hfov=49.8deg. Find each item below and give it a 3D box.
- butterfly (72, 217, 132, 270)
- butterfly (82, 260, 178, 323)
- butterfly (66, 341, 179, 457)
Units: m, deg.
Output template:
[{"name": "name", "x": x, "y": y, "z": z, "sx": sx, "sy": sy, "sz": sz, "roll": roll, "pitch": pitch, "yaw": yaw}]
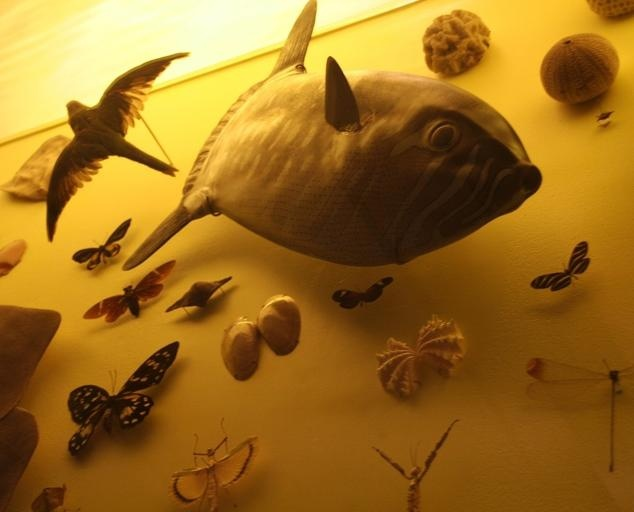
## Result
[{"name": "butterfly", "x": -0.834, "y": -0.027, "z": 2.673, "sx": 0.231, "sy": 0.177, "sz": 0.179, "roll": -17, "pitch": 33, "yaw": -20}, {"name": "butterfly", "x": -0.685, "y": 0.163, "z": 2.546, "sx": 0.404, "sy": 0.070, "sz": 0.121, "roll": -30, "pitch": 37, "yaw": 2}, {"name": "butterfly", "x": -0.664, "y": 0.491, "z": 2.367, "sx": 0.462, "sy": 0.094, "sz": 0.197, "roll": -27, "pitch": 37, "yaw": 5}]
